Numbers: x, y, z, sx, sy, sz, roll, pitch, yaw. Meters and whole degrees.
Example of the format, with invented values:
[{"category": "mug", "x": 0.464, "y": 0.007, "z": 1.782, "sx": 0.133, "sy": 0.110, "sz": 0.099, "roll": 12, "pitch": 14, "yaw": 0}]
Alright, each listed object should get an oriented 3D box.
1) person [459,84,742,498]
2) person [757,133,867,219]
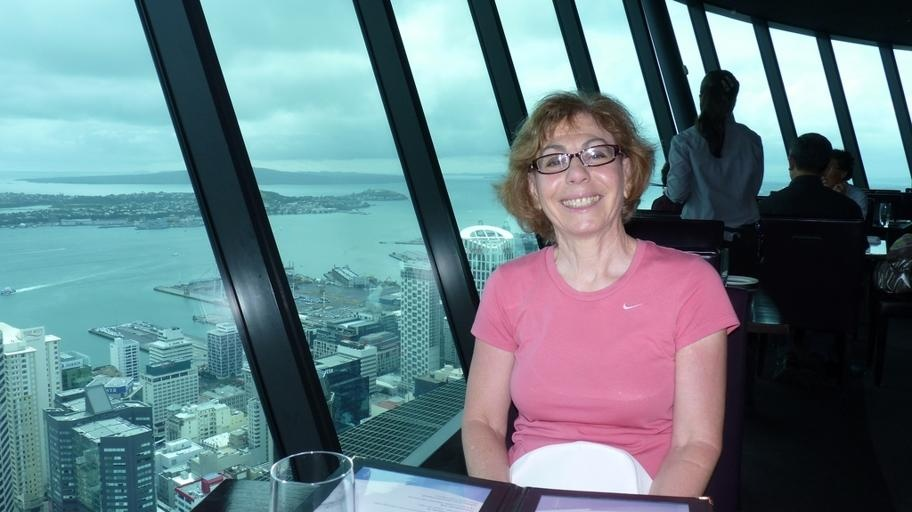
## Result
[{"category": "person", "x": 0.513, "y": 0.098, "z": 2.202, "sx": 1.022, "sy": 1.532, "sz": 0.720, "roll": -7, "pitch": 5, "yaw": 20}, {"category": "person", "x": 3.254, "y": -0.707, "z": 5.186, "sx": 0.947, "sy": 0.740, "sz": 0.469, "roll": 2, "pitch": 13, "yaw": 37}]
